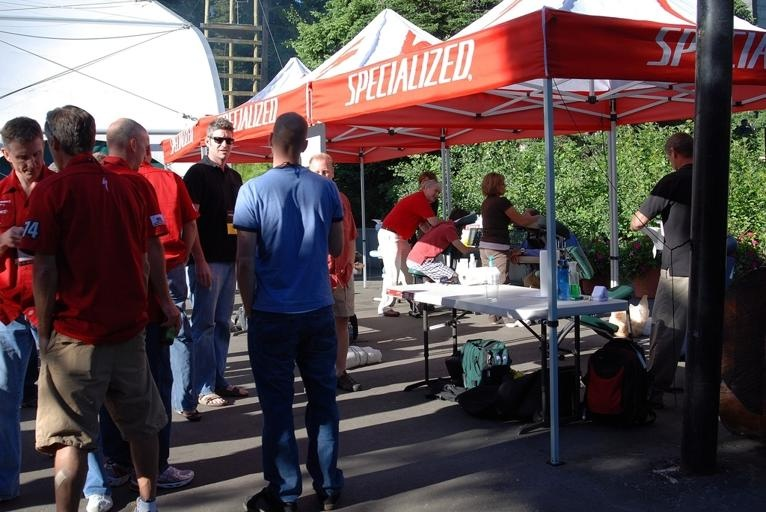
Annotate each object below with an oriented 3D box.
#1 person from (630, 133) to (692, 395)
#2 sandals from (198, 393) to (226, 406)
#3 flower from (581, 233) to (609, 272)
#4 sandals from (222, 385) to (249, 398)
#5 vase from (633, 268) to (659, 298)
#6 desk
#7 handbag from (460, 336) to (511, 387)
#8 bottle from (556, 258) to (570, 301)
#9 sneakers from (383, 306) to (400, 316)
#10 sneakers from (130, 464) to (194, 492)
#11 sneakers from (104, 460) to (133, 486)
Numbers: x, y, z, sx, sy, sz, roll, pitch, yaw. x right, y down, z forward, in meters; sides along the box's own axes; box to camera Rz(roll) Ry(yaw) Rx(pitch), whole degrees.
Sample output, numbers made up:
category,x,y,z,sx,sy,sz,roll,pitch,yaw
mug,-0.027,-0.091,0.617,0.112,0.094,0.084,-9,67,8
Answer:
category,x,y,z,sx,sy,sz,roll,pitch,yaw
person,2.611,0.104,7.374,0.504,2.486,0.750,2,10,19
sandals,-1.661,1.417,7.619,0.210,0.079,0.121,0,1,30
flower,3.754,-0.052,13.962,0.524,0.514,1.289,1,10,14
sandals,-1.476,1.378,7.890,0.299,0.109,0.100,-1,1,-11
vase,4.213,0.417,12.491,0.492,0.527,0.502,0,1,-11
desk,1.196,0.847,7.375,1.317,1.196,2.078,-7,11,-29
handbag,0.932,1.025,7.597,0.378,0.505,0.489,-1,8,-22
bottle,1.567,0.196,6.784,0.118,0.364,0.091,-2,9,-1
sneakers,0.118,0.854,11.870,0.111,0.114,0.263,-2,1,-42
sneakers,-1.710,1.733,6.067,0.477,0.219,0.174,-2,7,-15
sneakers,-2.068,1.707,6.089,0.103,0.123,0.283,2,1,41
